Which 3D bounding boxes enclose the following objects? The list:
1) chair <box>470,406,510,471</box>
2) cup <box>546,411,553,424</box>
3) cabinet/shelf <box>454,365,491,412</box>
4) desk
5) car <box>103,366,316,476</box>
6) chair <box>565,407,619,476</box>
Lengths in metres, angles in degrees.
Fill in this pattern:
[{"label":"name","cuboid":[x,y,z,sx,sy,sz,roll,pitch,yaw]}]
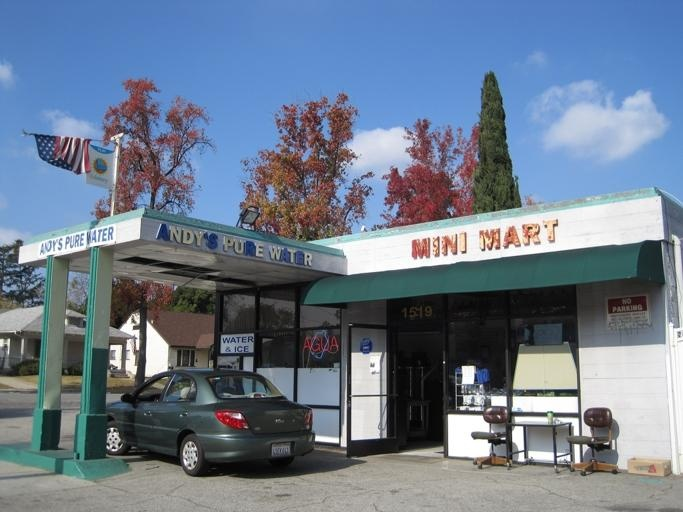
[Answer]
[{"label":"chair","cuboid":[3.240,3.860,13.004,0.797,1.266,0.821,2,-11,-6]},{"label":"cup","cuboid":[4.327,3.314,12.542,0.116,0.219,0.549,-1,-4,20]},{"label":"cabinet/shelf","cuboid":[3.040,3.051,13.913,0.948,1.239,0.370,-3,-4,40]},{"label":"desk","cuboid":[4.213,3.933,12.720,0.812,0.946,1.026,5,-11,-42]},{"label":"car","cuboid":[-2.682,3.177,11.969,3.927,1.864,1.460,-2,-4,31]},{"label":"chair","cuboid":[4.945,3.618,11.983,0.855,1.286,0.830,-9,-18,38]}]
